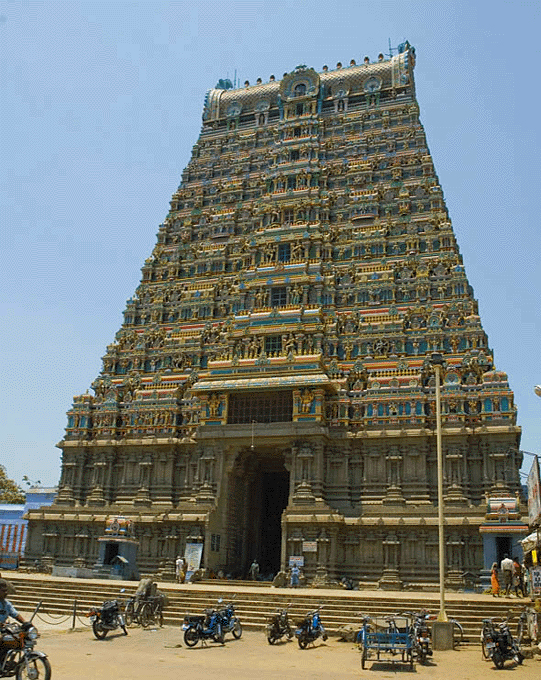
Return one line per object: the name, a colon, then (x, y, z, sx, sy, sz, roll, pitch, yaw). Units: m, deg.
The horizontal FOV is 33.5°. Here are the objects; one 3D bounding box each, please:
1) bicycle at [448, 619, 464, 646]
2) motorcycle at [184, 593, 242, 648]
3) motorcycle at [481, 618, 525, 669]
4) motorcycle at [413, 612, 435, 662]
bicycle: (5.549, 8.821, 26.839, 0.266, 0.794, 0.954, -10, 18, 16)
motorcycle: (-1.683, 8.451, 26.627, 1.095, 1.337, 2.430, -2, -20, 13)
motorcycle: (6.177, 8.125, 23.900, 1.009, 1.219, 1.486, -2, -21, 13)
motorcycle: (4.191, 8.301, 24.663, 0.834, 1.451, 0.949, -2, 19, 7)
